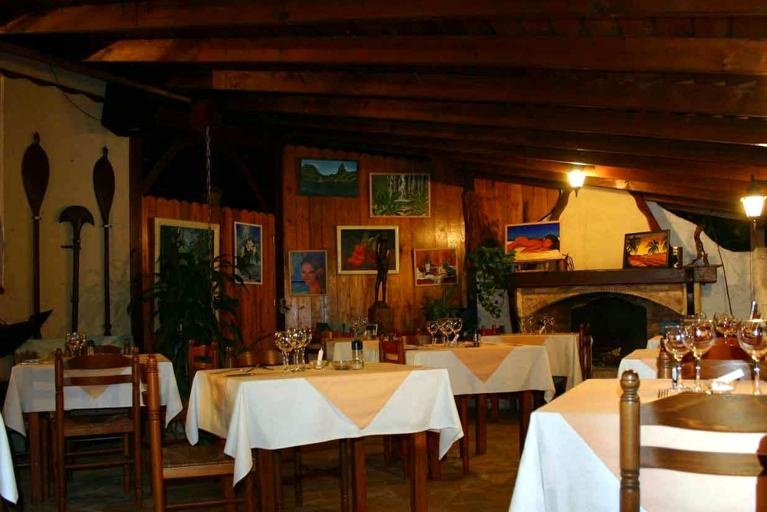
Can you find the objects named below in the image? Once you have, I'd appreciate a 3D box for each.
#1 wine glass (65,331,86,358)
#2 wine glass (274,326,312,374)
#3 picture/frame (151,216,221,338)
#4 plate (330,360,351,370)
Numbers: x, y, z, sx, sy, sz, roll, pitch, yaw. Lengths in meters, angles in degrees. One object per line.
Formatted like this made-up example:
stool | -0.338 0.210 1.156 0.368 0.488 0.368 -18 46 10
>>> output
wine glass | -3.112 0.907 7.193 0.235 0.280 0.242 2 0 -4
wine glass | -0.717 0.739 5.572 0.256 0.321 0.520 0 -6 -6
picture/frame | -2.603 0.230 9.492 0.253 1.465 1.091 -5 -7 39
plate | -0.328 0.845 5.401 0.150 0.062 0.097 0 -6 -5
